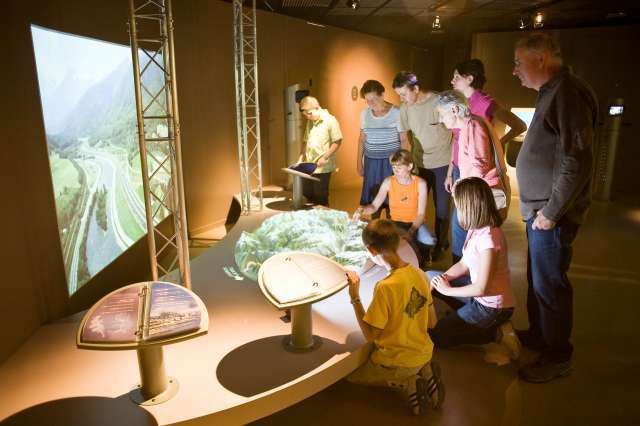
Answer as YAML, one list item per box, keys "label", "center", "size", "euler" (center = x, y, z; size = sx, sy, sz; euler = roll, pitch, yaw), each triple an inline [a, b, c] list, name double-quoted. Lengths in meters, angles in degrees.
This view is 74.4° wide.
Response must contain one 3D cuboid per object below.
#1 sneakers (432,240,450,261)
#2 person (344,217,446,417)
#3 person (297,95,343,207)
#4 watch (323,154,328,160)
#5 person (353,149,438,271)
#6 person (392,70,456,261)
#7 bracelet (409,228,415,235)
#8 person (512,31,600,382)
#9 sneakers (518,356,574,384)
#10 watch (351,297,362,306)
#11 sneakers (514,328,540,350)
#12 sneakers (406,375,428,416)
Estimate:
- label: "sneakers"
  center: [1.419, 0.447, 5.017]
  size: [0.075, 0.240, 0.174]
  euler: [22, -3, -8]
- label: "person"
  center: [0.527, 0.731, 2.932]
  size: [0.692, 1.348, 0.296]
  euler: [0, 14, 2]
- label: "person"
  center: [-0.027, -0.757, 5.416]
  size: [0.575, 1.425, 0.703]
  euler: [1, 14, 8]
- label: "watch"
  center: [0.063, -0.684, 5.156]
  size: [0.058, 0.040, 0.055]
  euler: [2, 10, 12]
- label: "person"
  center: [0.905, 0.016, 4.597]
  size: [0.786, 1.296, 0.797]
  euler: [11, 30, 39]
- label: "person"
  center: [1.303, -0.523, 5.007]
  size: [0.712, 2.161, 0.651]
  euler: [0, 15, 22]
- label: "bracelet"
  center: [0.978, 0.197, 4.543]
  size: [0.021, 0.072, 0.053]
  euler: [12, 30, -34]
- label: "person"
  center: [1.793, -0.032, 3.243]
  size: [0.528, 2.565, 0.614]
  euler: [-2, 14, -6]
- label: "sneakers"
  center: [1.737, 1.196, 3.332]
  size: [0.461, 0.226, 0.161]
  euler: [-1, 11, -3]
- label: "watch"
  center: [0.240, 0.580, 2.825]
  size: [0.060, 0.040, 0.064]
  euler: [-10, -13, 23]
- label: "sneakers"
  center: [1.736, 1.058, 3.533]
  size: [0.074, 0.148, 0.211]
  euler: [-15, 29, -17]
- label: "sneakers"
  center: [0.672, 1.252, 2.987]
  size: [0.117, 0.315, 0.129]
  euler: [-3, -2, -22]
